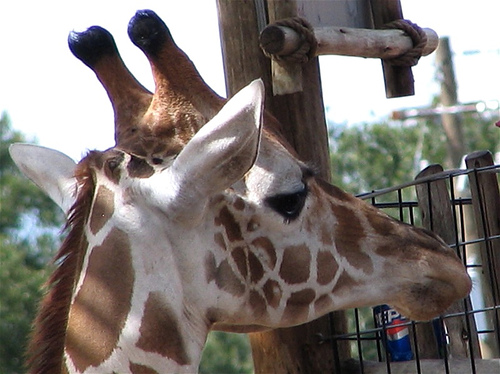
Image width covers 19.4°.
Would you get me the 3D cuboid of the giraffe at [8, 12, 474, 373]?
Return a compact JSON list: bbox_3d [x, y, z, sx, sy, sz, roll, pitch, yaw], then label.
[{"bbox_3d":[-0.015,0.274,16.062,4.762,3.890,2.788,3,3,-24],"label":"giraffe"}]
